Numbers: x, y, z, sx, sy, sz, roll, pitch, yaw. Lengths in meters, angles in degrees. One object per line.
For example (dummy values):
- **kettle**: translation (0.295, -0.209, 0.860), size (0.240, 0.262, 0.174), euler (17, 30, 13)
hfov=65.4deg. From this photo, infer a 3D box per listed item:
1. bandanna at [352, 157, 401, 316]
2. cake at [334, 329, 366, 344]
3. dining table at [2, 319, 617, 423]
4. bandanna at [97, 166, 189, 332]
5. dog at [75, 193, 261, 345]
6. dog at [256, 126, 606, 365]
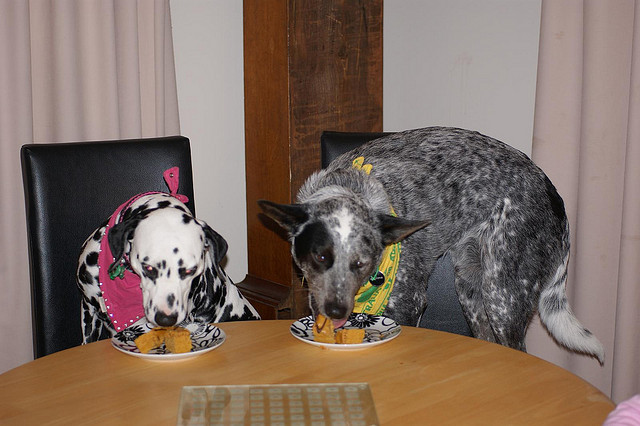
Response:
- **bandanna**: translation (0.316, 0.344, 2.582), size (0.301, 0.380, 0.153), euler (-7, 11, -16)
- **cake**: translation (0.100, 0.443, 1.810), size (0.068, 0.022, 0.066), euler (-6, 0, -5)
- **dining table**: translation (-0.064, 0.525, 1.671), size (1.862, 0.179, 0.535), euler (-3, 9, 0)
- **bandanna**: translation (-0.801, 0.164, 2.435), size (0.428, 0.697, 0.408), euler (-3, 18, -14)
- **dog**: translation (-0.748, 0.225, 2.381), size (0.586, 0.577, 0.889), euler (-1, 13, -15)
- **dog**: translation (0.614, 0.138, 3.194), size (2.602, 1.448, 0.785), euler (-5, -5, -12)
